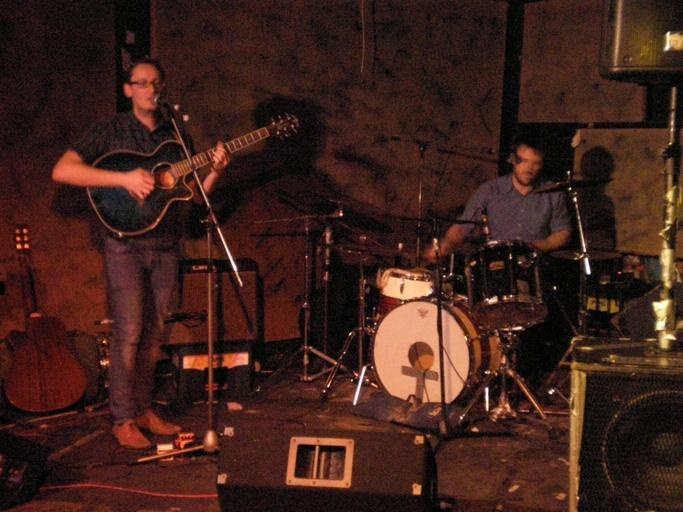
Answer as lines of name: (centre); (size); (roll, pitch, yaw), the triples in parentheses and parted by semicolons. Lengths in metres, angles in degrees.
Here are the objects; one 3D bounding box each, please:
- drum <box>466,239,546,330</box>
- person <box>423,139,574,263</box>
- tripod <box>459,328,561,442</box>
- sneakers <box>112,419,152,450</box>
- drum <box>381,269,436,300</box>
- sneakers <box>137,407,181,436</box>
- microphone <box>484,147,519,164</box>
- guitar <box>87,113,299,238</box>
drum: (1.107, 0.234, 5.295); (0.520, 0.486, 0.525); (-22, -40, 26)
person: (1.232, -0.415, 6.339); (0.735, 0.853, 0.515); (25, 20, 16)
tripod: (1.093, 0.837, 5.434); (0.677, 0.730, 0.636); (-3, -3, 30)
sneakers: (-1.272, 1.082, 4.940); (0.248, 0.090, 0.131); (15, 22, 34)
drum: (0.443, 0.194, 5.635); (0.125, 0.211, 0.472); (-12, 17, -44)
sneakers: (-1.162, 1.050, 5.174); (0.341, 0.142, 0.121); (5, 4, 2)
microphone: (1.358, -0.839, 6.993); (0.244, 0.057, 0.167); (2, -2, -23)
guitar: (-0.879, -0.560, 4.972); (1.307, 0.542, 0.138); (-25, 38, -8)
